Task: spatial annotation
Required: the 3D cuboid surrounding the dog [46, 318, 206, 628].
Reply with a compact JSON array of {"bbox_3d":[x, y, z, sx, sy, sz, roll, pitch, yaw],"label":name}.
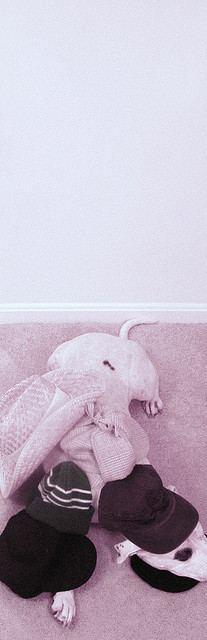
[{"bbox_3d":[0.042,0.410,1.476,0.455,0.731,0.702,-1,7,-9],"label":"dog"}]
